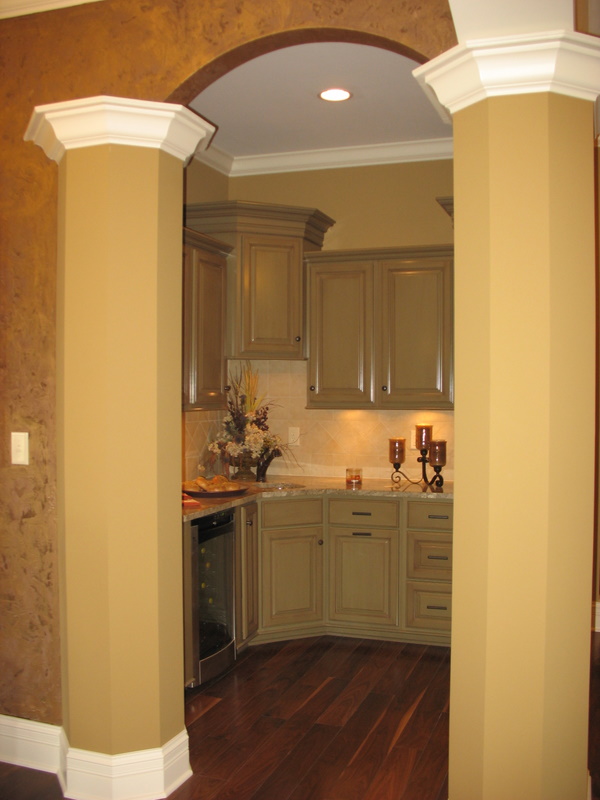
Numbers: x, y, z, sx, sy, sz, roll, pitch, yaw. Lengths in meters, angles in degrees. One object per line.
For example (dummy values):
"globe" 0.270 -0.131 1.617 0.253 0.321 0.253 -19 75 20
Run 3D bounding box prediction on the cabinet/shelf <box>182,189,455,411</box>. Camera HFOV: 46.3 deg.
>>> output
"cabinet/shelf" 0.163 -0.519 4.034 1.375 1.149 0.323 0 0 -2

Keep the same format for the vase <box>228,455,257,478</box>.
"vase" -0.348 0.402 4.308 0.148 0.152 0.154 0 6 -8

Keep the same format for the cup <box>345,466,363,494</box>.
"cup" 0.320 0.465 4.112 0.091 0.115 0.099 0 -3 0

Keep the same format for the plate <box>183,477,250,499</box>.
"plate" -0.426 0.459 3.643 0.208 0.091 0.455 -1 -1 44

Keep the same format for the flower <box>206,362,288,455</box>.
"flower" -0.319 0.057 4.397 0.324 0.432 0.360 4 3 27
